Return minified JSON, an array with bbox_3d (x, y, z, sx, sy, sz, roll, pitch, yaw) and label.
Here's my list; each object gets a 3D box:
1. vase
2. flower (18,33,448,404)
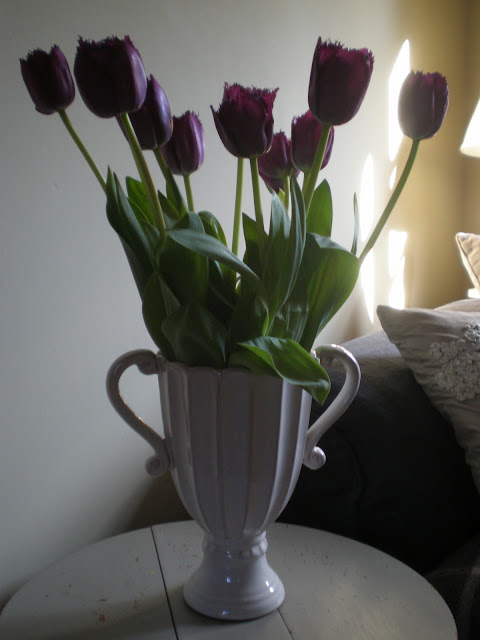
[{"bbox_3d":[-0.008,0.146,0.531,0.192,0.329,0.173,-3,19,-5],"label":"vase"},{"bbox_3d":[-0.062,-0.100,0.452,0.157,0.291,0.201,7,21,22],"label":"flower"}]
